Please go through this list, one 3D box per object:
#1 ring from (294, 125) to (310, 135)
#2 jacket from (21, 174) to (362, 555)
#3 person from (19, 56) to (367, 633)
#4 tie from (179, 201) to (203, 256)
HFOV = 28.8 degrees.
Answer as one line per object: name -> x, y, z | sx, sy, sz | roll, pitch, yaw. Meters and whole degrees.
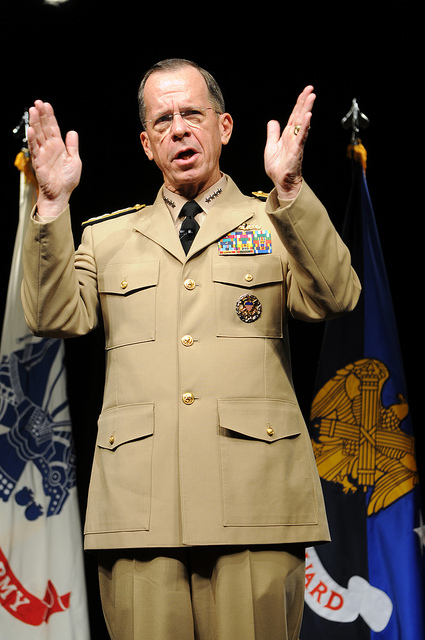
ring -> 0.175, -0.367, 1.607 | 0.007, 0.016, 0.016 | 13, 26, -30
jacket -> -0.043, 0.121, 1.856 | 0.597, 0.893, 0.539 | -1, 2, 1
person -> -0.064, 0.020, 1.777 | 0.632, 1.221, 0.577 | 1, 9, 39
tie -> -0.053, -0.205, 1.854 | 0.061, 0.107, 0.028 | -12, -21, 36
